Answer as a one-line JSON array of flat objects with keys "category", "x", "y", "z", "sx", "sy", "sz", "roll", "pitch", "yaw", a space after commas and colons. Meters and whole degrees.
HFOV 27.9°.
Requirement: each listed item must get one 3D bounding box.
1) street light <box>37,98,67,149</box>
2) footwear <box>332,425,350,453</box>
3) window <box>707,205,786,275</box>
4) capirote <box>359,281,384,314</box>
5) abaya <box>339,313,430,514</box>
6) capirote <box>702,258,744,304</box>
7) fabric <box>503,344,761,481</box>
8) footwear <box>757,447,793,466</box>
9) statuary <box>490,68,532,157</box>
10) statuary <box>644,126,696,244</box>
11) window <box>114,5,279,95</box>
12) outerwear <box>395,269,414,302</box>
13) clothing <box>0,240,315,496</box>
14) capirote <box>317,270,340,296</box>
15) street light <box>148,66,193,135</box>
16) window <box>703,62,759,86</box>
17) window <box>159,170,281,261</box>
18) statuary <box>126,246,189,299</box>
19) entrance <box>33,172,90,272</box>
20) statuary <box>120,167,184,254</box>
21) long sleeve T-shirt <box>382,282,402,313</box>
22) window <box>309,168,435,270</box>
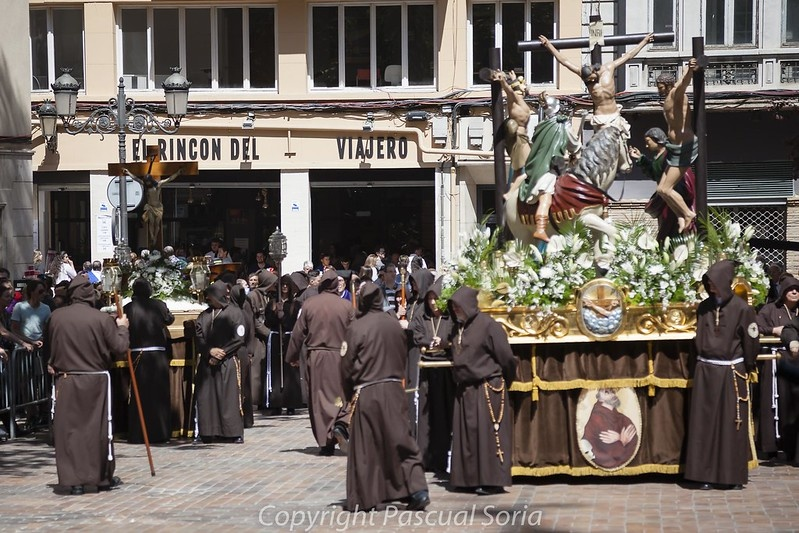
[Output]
[{"category": "street light", "x": -7.254, "y": -2.877, "z": 32.961, "sx": 0.663, "sy": 1.044, "sz": 0.653, "roll": -2, "pitch": 2, "yaw": 9}, {"category": "footwear", "x": -0.856, "y": 2.579, "z": 23.996, "sx": 0.205, "sy": 0.186, "sz": 0.447, "roll": 1, "pitch": -43, "yaw": 25}, {"category": "window", "x": 7.493, "y": -0.841, "z": 34.697, "sx": 1.761, "sy": 0.100, "sz": 1.997, "roll": -1, "pitch": -24, "yaw": 14}, {"category": "capirote", "x": -0.462, "y": 0.440, "z": 23.926, "sx": 0.402, "sy": 0.409, "sz": 0.423, "roll": -4, "pitch": 16, "yaw": -5}, {"category": "abaya", "x": -0.366, "y": 2.063, "z": 24.119, "sx": 1.371, "sy": 2.965, "sz": 1.280, "roll": 2, "pitch": -5, "yaw": -24}, {"category": "capirote", "x": 4.935, "y": 0.213, "z": 24.413, "sx": 0.697, "sy": 0.603, "sz": 0.406, "roll": -9, "pitch": 3, "yaw": -2}, {"category": "fabric", "x": 3.047, "y": 2.140, "z": 25.587, "sx": 3.620, "sy": 1.722, "sz": 2.094, "roll": 0, "pitch": -3, "yaw": -1}, {"category": "footwear", "x": 6.031, "y": 3.032, "z": 25.807, "sx": 0.543, "sy": 0.200, "sz": 0.885, "roll": -2, "pitch": 3, "yaw": 10}, {"category": "statuary", "x": 1.893, "y": -2.600, "z": 27.596, "sx": 0.571, "sy": 1.950, "sz": 2.297, "roll": -8, "pitch": 4, "yaw": 9}, {"category": "statuary", "x": 4.428, "y": -1.272, "z": 26.669, "sx": 1.026, "sy": 1.826, "sz": 0.832, "roll": 1, "pitch": -5, "yaw": 19}, {"category": "window", "x": -4.536, "y": -4.820, "z": 35.908, "sx": 2.867, "sy": 1.539, "sz": 0.150, "roll": 0, "pitch": 2, "yaw": 6}, {"category": "outerwear", "x": 0.080, "y": 0.228, "z": 27.527, "sx": 0.227, "sy": 0.259, "sz": 0.484, "roll": 16, "pitch": 7, "yaw": -11}, {"category": "clothing", "x": -4.682, "y": 1.694, "z": 26.286, "sx": 4.001, "sy": 3.255, "sz": 3.660, "roll": -3, "pitch": 3, "yaw": -6}, {"category": "capirote", "x": -1.187, "y": 0.266, "z": 26.634, "sx": 0.343, "sy": 0.337, "sz": 0.365, "roll": 2, "pitch": 0, "yaw": -19}, {"category": "street light", "x": -4.102, "y": -2.993, "z": 29.062, "sx": 0.486, "sy": 1.138, "sz": 0.625, "roll": 2, "pitch": -2, "yaw": -27}, {"category": "window", "x": 7.017, "y": -4.039, "z": 33.962, "sx": 1.090, "sy": 0.509, "sz": 0.116, "roll": -2, "pitch": 3, "yaw": 6}, {"category": "window", "x": -3.945, "y": -1.179, "z": 35.912, "sx": 2.069, "sy": 1.962, "sz": 1.038, "roll": 0, "pitch": -2, "yaw": 2}, {"category": "statuary", "x": -4.185, "y": 0.094, "z": 28.178, "sx": 0.904, "sy": 0.795, "sz": 0.907, "roll": 18, "pitch": -10, "yaw": 1}, {"category": "entrance", "x": -7.678, "y": -1.005, "z": 36.554, "sx": 1.037, "sy": 1.987, "sz": 0.186, "roll": 1, "pitch": -28, "yaw": -16}, {"category": "statuary", "x": -4.961, "y": -1.161, "z": 32.064, "sx": 1.721, "sy": 2.280, "sz": 0.534, "roll": -1, "pitch": 11, "yaw": -5}, {"category": "long sleeve T-shirt", "x": -0.159, "y": 0.568, "z": 28.682, "sx": 0.478, "sy": 0.599, "sz": 0.326, "roll": 2, "pitch": -12, "yaw": -6}, {"category": "window", "x": -0.730, "y": -1.059, "z": 37.549, "sx": 3.625, "sy": 1.940, "sz": 3.317, "roll": -2, "pitch": -4, "yaw": 0}]
